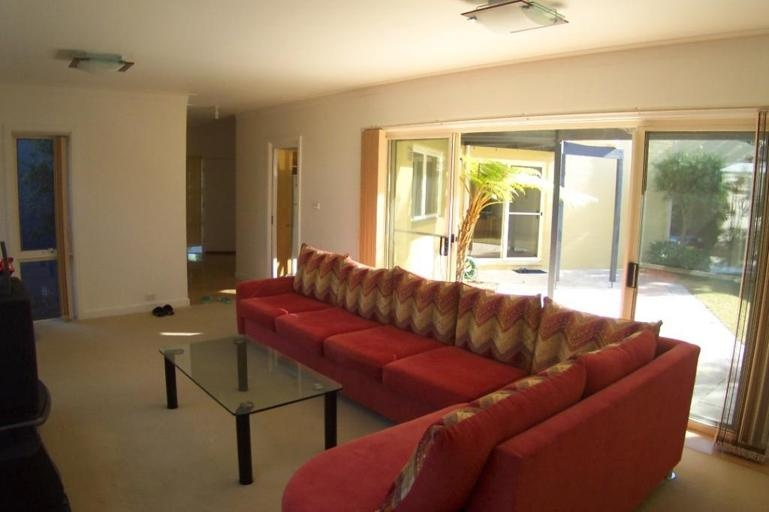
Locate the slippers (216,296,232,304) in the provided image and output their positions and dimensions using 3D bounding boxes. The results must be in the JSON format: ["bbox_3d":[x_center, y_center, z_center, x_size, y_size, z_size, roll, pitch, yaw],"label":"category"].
[{"bbox_3d":[-2.464,0.680,8.400,0.096,0.110,0.280,-3,14,-40],"label":"slippers"}]

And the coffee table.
[{"bbox_3d":[-0.938,1.195,4.975,0.957,0.544,1.892,-10,11,-11],"label":"coffee table"}]

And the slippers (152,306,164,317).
[{"bbox_3d":[-3.128,0.771,7.535,0.114,0.054,0.151,8,7,20],"label":"slippers"}]

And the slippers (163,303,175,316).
[{"bbox_3d":[-3.027,0.748,7.653,0.172,0.154,0.128,15,14,33],"label":"slippers"}]
